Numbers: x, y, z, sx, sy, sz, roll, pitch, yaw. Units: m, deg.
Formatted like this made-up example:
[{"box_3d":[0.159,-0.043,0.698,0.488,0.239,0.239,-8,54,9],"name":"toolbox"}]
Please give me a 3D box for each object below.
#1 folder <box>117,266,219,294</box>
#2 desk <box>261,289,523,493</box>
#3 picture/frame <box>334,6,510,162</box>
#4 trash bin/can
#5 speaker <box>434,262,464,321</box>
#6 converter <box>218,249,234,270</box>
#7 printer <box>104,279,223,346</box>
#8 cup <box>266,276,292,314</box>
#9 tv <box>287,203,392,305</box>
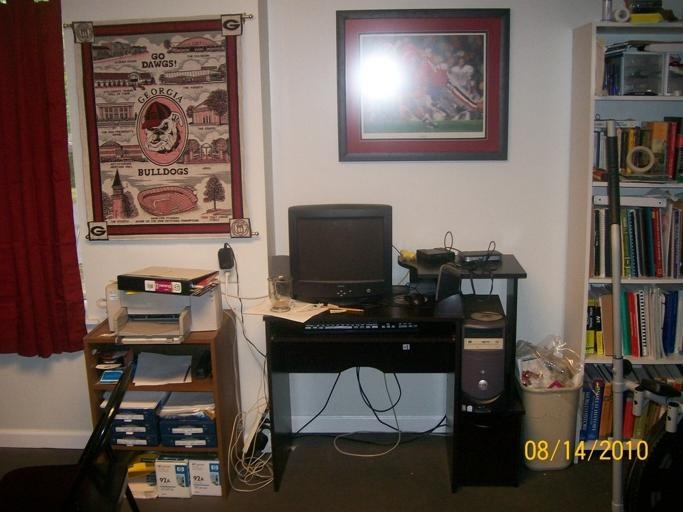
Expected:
[{"box_3d":[-0.957,0.135,3.322,0.489,0.115,0.272,-1,9,9],"name":"folder"},{"box_3d":[0.309,0.700,3.397,1.280,0.953,0.505,-4,10,-6],"name":"desk"},{"box_3d":[0.497,-1.046,3.519,0.887,0.744,0.069,0,7,0],"name":"picture/frame"},{"box_3d":[1.182,0.921,3.573,0.357,0.573,0.388,-1,3,-8],"name":"trash bin/can"},{"box_3d":[0.601,0.207,3.369,0.174,0.316,0.338,1,2,6],"name":"speaker"},{"box_3d":[-0.679,0.019,3.539,0.086,0.139,0.060,-4,10,-12],"name":"converter"},{"box_3d":[-1.001,0.278,3.386,0.634,0.320,0.525,0,8,1],"name":"printer"},{"box_3d":[-0.337,0.202,3.297,0.119,0.174,0.170,-3,10,-7],"name":"cup"},{"box_3d":[-0.003,-0.067,3.525,0.584,0.545,0.361,-1,19,1],"name":"tv"}]
